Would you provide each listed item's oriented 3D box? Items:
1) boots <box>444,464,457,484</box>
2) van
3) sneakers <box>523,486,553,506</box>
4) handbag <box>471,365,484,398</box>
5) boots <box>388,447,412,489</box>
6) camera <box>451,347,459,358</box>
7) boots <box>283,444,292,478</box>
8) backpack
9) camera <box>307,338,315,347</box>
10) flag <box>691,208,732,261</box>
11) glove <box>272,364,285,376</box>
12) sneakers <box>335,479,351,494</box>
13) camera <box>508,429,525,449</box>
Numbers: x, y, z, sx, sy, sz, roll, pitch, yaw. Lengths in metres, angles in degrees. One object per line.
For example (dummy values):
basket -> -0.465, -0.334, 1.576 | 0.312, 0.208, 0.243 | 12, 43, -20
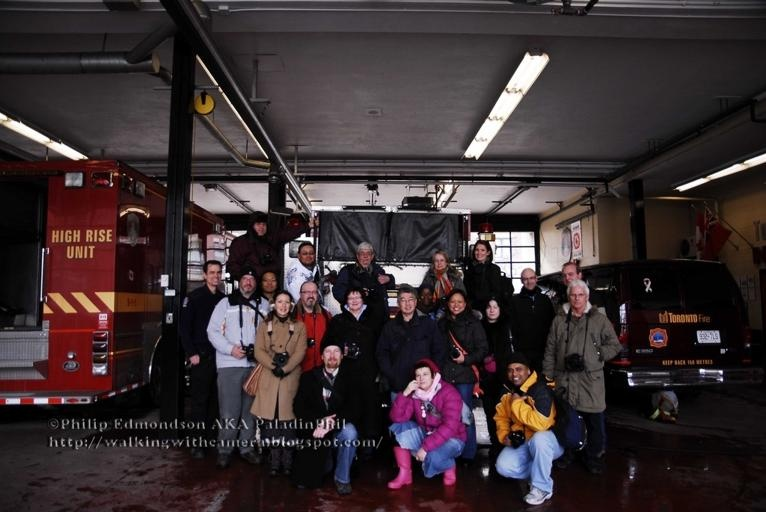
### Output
boots -> 0.913, 2.898, 7.631 | 0.198, 0.243, 0.137 | -1, 5, -16
van -> 5.042, 1.201, 10.217 | 3.429, 1.644, 2.067 | 2, -4, -35
sneakers -> 1.935, 3.011, 7.192 | 0.388, 0.168, 0.152 | 10, -21, -24
handbag -> 1.378, 1.832, 8.328 | 0.118, 0.446, 0.318 | -4, 13, 18
boots -> 0.226, 2.771, 7.584 | 0.315, 0.520, 0.227 | 0, 5, 5
camera -> 1.012, 1.372, 8.182 | 0.120, 0.097, 0.169 | 11, 30, -9
boots -> -1.320, 2.835, 7.893 | 0.115, 0.352, 0.137 | 1, -6, -16
backpack -> 2.330, 2.070, 7.481 | 0.814, 0.860, 0.282 | -2, 5, -19
camera -> -1.019, 1.253, 8.297 | 0.104, 0.092, 0.081 | -1, 1, 6
flag -> 9.668, -0.613, 16.792 | 0.186, 1.816, 1.129 | 8, -20, -32
glove -> -1.414, 1.572, 7.883 | 0.130, 0.103, 0.115 | 1, -3, -9
sneakers -> -0.502, 2.985, 7.448 | 0.205, 0.153, 0.137 | 0, 5, -3
camera -> 1.713, 2.332, 7.335 | 0.180, 0.172, 0.229 | 0, -5, -3
